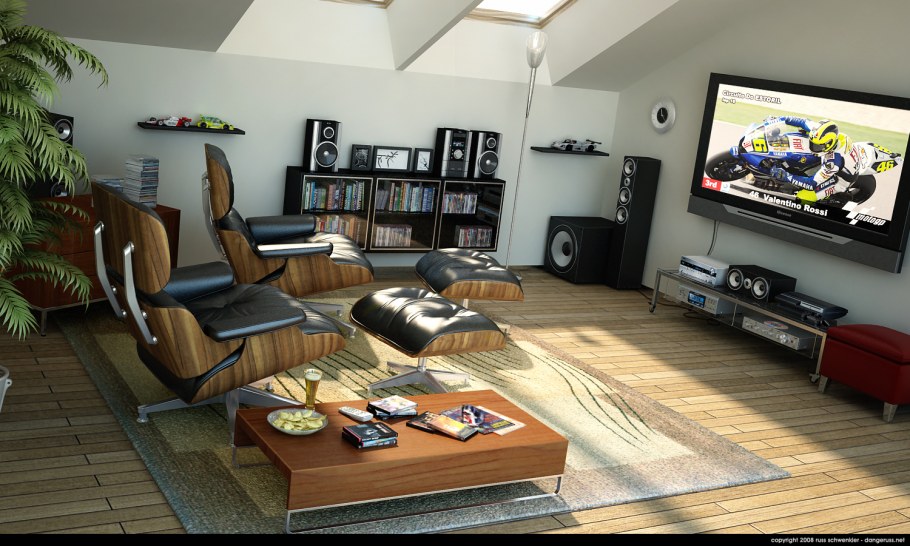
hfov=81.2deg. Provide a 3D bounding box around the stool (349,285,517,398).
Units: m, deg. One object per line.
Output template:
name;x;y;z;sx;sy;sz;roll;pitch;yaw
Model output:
stool;-0.208;0.583;4.197;0.922;0.605;1.249;14;2;34

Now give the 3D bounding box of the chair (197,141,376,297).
chair;-1.502;-0.359;4.763;1.489;0.985;0.973;5;11;-24

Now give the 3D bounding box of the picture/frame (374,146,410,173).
picture/frame;-0.766;-1.349;6.248;0.446;0.229;0.038;-3;14;-18

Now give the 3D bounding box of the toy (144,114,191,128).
toy;-2.906;-1.519;5.308;0.390;0.069;0.170;-1;12;-13

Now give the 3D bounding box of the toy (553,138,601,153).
toy;1.653;-1.689;6.984;0.760;0.188;0.269;-1;15;-14

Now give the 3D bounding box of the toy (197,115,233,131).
toy;-2.501;-1.556;5.504;0.329;0.073;0.195;-3;12;-18

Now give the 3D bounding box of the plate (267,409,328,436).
plate;-0.833;0.795;2.798;0.195;0.036;0.162;2;11;-7

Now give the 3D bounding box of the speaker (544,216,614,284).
speaker;1.561;-0.332;7.069;1.085;0.762;0.901;-1;14;-13

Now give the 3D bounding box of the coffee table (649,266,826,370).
coffee table;2.963;0.480;5.413;0.429;0.259;1.173;-3;18;-27

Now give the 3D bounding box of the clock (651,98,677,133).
clock;2.596;-1.961;6.554;0.420;0.328;0.408;6;15;37

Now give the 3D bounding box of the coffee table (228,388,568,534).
coffee table;-0.279;1.029;3.004;1.742;0.549;0.552;-3;16;-19

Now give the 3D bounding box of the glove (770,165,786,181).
glove;3.353;-1.029;5.493;0.153;0.119;0.155;-9;19;-33

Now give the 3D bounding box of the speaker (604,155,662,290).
speaker;2.268;-0.616;6.665;0.502;1.665;0.419;6;16;6
